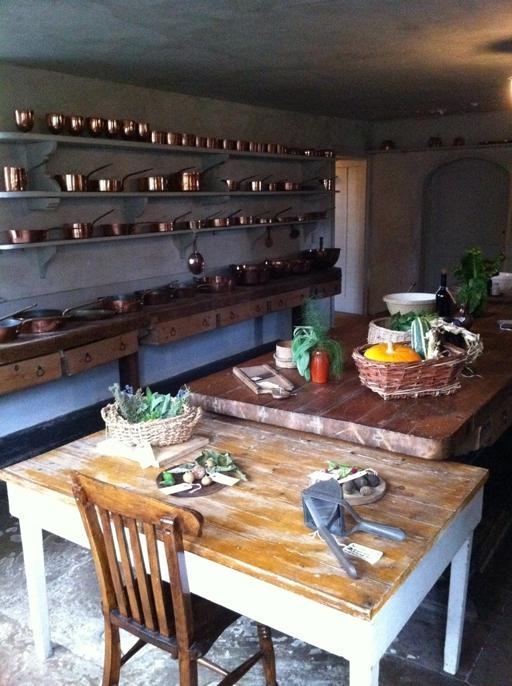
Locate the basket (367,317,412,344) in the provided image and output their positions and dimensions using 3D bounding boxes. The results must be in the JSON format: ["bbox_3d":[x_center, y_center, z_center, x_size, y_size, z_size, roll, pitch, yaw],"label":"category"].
[{"bbox_3d":[0.558,-0.048,2.266,0.136,0.059,0.159,3,12,16],"label":"basket"}]

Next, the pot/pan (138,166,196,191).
[{"bbox_3d":[-0.707,-1.291,4.203,0.534,0.192,0.204,-5,8,-42],"label":"pot/pan"}]

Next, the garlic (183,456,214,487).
[{"bbox_3d":[-0.149,0.335,1.373,0.062,0.017,0.059,-8,23,-25],"label":"garlic"}]

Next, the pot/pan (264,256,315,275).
[{"bbox_3d":[0.316,-0.778,5.363,0.384,0.125,0.263,-5,6,-38],"label":"pot/pan"}]

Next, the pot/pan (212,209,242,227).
[{"bbox_3d":[-0.369,-1.153,4.872,0.194,0.107,0.316,-9,10,-39],"label":"pot/pan"}]

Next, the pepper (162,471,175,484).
[{"bbox_3d":[-0.225,0.342,1.337,0.023,0.019,0.032,12,9,-10],"label":"pepper"}]

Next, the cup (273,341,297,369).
[{"bbox_3d":[0.105,0.049,2.263,0.112,0.072,0.108,-2,7,0],"label":"cup"}]

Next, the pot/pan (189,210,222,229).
[{"bbox_3d":[-0.506,-1.074,4.590,0.268,0.168,0.157,6,11,39],"label":"pot/pan"}]

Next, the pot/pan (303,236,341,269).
[{"bbox_3d":[0.729,-0.993,5.869,0.312,0.193,0.307,-1,0,10],"label":"pot/pan"}]

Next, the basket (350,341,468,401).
[{"bbox_3d":[0.538,0.110,1.841,0.290,0.102,0.210,-11,16,-19],"label":"basket"}]

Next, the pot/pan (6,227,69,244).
[{"bbox_3d":[-1.375,-0.676,3.257,0.169,0.072,0.264,1,2,40],"label":"pot/pan"}]

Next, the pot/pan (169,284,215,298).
[{"bbox_3d":[-0.546,-0.432,4.392,0.249,0.080,0.148,-1,1,-36],"label":"pot/pan"}]

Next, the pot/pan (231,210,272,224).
[{"bbox_3d":[-0.058,-1.260,5.251,0.257,0.140,0.429,2,4,31],"label":"pot/pan"}]

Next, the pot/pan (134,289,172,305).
[{"bbox_3d":[-0.775,-0.351,3.979,0.172,0.061,0.175,2,4,45],"label":"pot/pan"}]

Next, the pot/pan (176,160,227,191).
[{"bbox_3d":[-0.527,-1.408,4.550,0.230,0.248,0.553,2,6,30],"label":"pot/pan"}]

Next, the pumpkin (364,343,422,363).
[{"bbox_3d":[0.466,0.035,1.807,0.191,0.069,0.163,-2,12,12],"label":"pumpkin"}]

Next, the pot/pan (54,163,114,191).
[{"bbox_3d":[-1.191,-1.117,3.600,0.176,0.185,0.447,4,9,34],"label":"pot/pan"}]

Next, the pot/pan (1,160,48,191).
[{"bbox_3d":[-1.466,-1.016,3.195,0.312,0.199,0.165,4,11,12],"label":"pot/pan"}]

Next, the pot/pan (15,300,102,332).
[{"bbox_3d":[-1.289,-0.173,3.406,0.464,0.123,0.250,1,12,1],"label":"pot/pan"}]

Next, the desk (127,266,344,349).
[{"bbox_3d":[-0.114,-0.338,4.859,0.436,0.207,2.662,-8,8,44],"label":"desk"}]

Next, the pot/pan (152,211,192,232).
[{"bbox_3d":[-0.752,-0.979,4.262,0.334,0.121,0.159,2,7,40],"label":"pot/pan"}]

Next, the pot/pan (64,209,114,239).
[{"bbox_3d":[-1.184,-0.818,3.655,0.351,0.200,0.168,0,10,-24],"label":"pot/pan"}]
